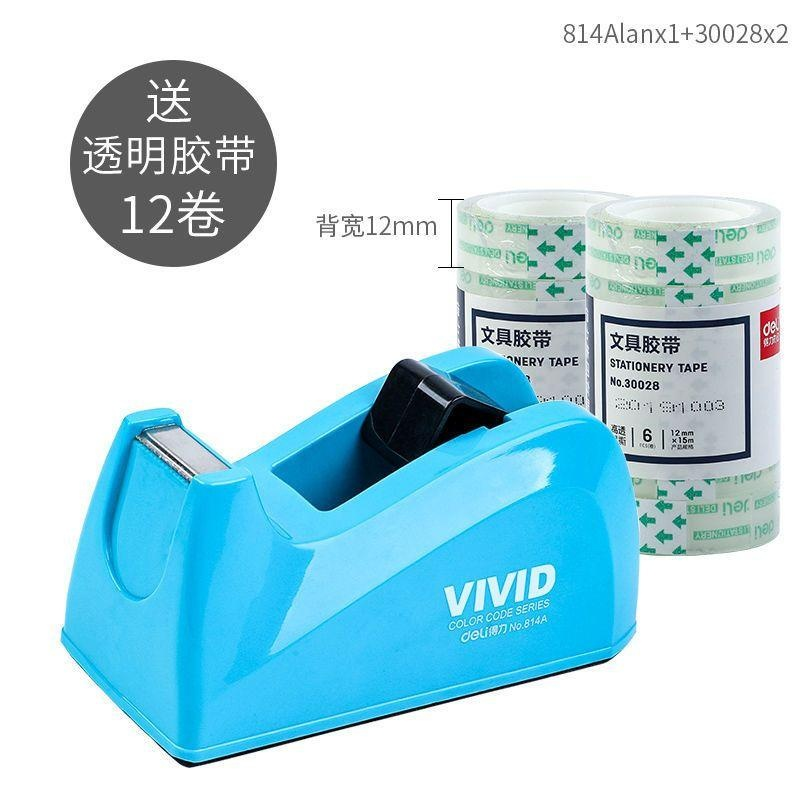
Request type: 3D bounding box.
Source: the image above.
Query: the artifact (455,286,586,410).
[{"bbox_3d":[0.270,-0.111,2.083,0.264,0.241,0.242,-2,12,3],"label":"artifact"}]

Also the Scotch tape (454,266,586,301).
[{"bbox_3d":[0.245,-0.233,1.965,0.255,0.076,0.067,-1,7,12],"label":"Scotch tape"}]
